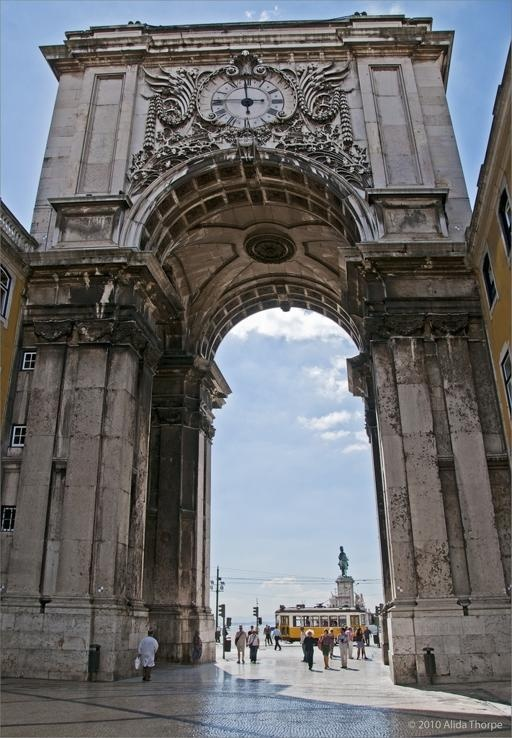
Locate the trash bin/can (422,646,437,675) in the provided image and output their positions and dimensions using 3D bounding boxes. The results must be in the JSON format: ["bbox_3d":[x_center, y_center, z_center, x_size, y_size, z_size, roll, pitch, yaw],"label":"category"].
[{"bbox_3d":[4.565,7.619,15.313,0.336,0.688,0.249,-5,-25,5],"label":"trash bin/can"}]

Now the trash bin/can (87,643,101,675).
[{"bbox_3d":[-4.505,8.088,16.265,0.348,0.847,0.204,6,-26,-17],"label":"trash bin/can"}]

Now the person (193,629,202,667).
[{"bbox_3d":[-2.539,11.778,24.888,0.344,1.241,1.012,1,-26,-6],"label":"person"}]
